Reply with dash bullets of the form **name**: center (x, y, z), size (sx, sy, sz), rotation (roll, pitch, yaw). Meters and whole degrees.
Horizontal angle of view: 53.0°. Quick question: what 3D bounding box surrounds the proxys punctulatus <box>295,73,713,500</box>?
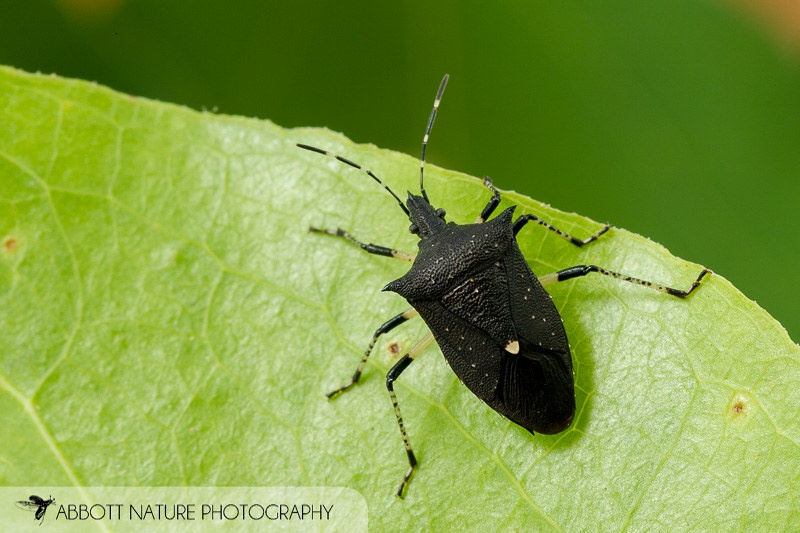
- **proxys punctulatus**: center (0.073, -0.089, 6.102), size (1.878, 4.337, 3.303), rotation (1, 82, 1)
